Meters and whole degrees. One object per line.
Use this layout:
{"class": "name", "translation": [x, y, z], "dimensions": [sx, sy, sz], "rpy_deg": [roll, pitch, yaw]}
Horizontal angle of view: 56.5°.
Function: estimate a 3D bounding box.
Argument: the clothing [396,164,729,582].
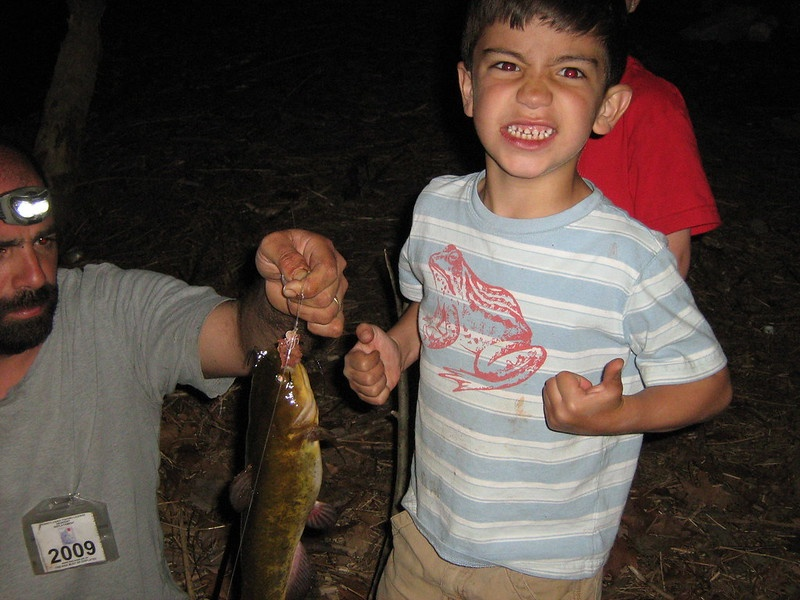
{"class": "clothing", "translation": [0.585, 0.350, 3.741], "dimensions": [1.030, 1.825, 2.112], "rpy_deg": [-6, 15, -40]}
